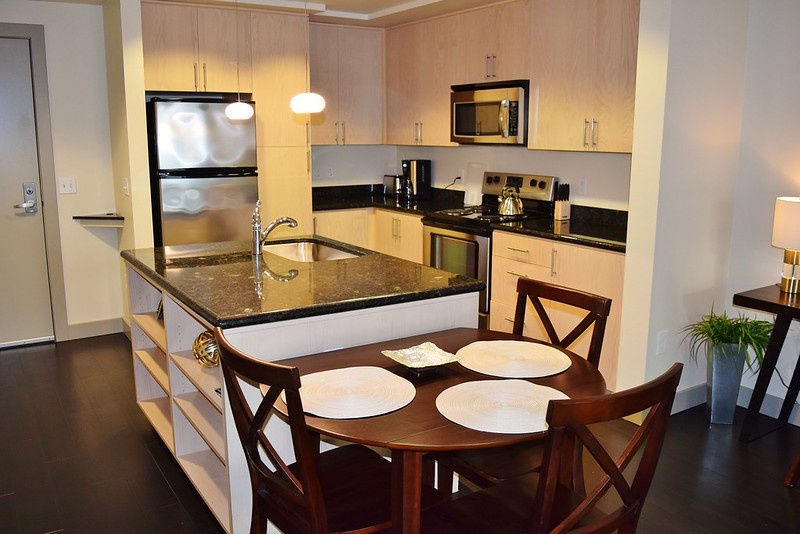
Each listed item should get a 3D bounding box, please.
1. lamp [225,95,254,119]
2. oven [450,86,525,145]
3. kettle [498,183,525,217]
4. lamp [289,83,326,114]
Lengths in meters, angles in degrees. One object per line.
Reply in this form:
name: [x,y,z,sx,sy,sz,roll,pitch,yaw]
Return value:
lamp: [-1.307,-1.324,4.740,0.232,0.241,0.236,1,0,-11]
oven: [0.909,-1.422,5.394,0.506,0.578,0.877,-16,21,-40]
kettle: [1.006,-0.607,5.284,0.259,0.269,0.266,-1,10,-7]
lamp: [-0.674,-1.224,4.255,0.219,0.142,0.252,-2,12,0]
